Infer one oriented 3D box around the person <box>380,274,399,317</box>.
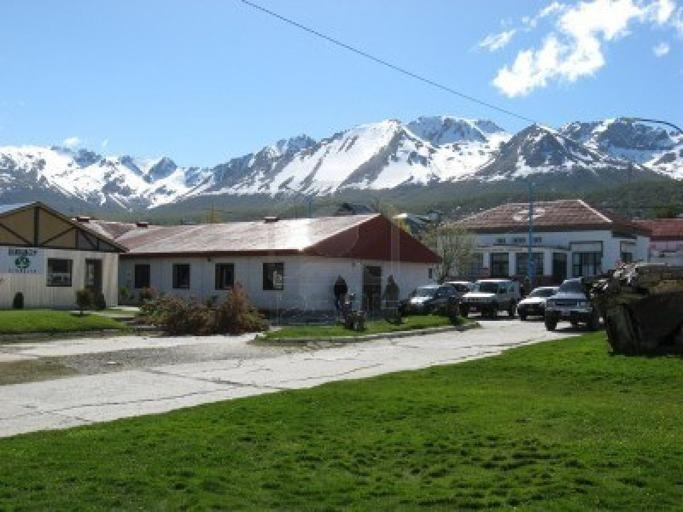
[{"bbox_3d":[2.629,2.108,37.617,0.792,2.407,0.603,-13,21,-26],"label":"person"}]
